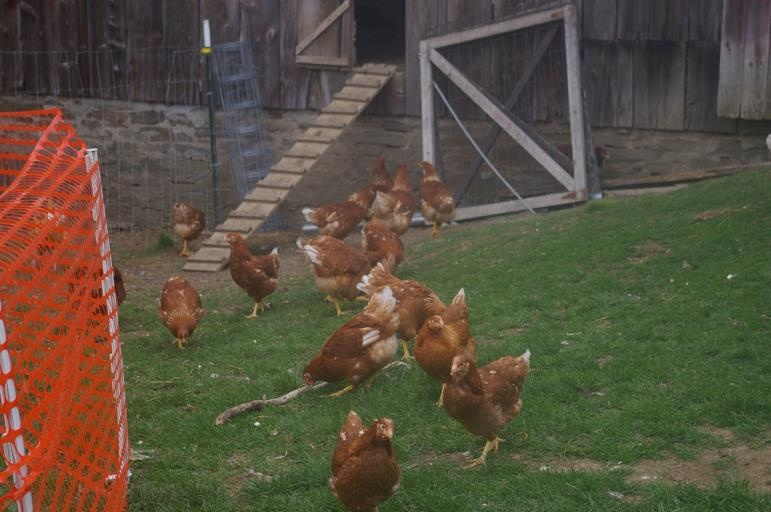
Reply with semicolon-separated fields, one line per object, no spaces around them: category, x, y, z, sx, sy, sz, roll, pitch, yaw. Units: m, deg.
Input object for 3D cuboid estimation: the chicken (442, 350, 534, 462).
chicken;1.546;2.366;19.993;1.295;1.606;0.754;-23;24;-19
